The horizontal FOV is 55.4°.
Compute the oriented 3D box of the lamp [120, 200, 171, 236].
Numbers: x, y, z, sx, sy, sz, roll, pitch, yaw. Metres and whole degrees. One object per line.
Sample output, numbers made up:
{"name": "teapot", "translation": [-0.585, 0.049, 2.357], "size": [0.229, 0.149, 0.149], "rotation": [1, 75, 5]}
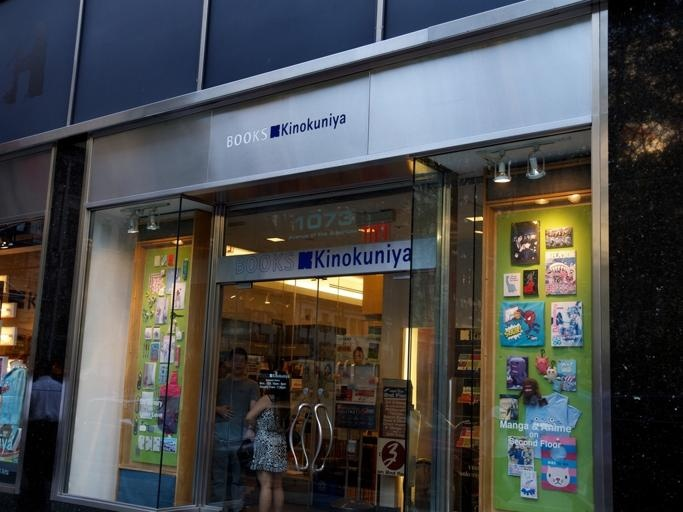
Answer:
{"name": "lamp", "translation": [-2.196, -0.405, 7.254], "size": [0.517, 0.295, 0.129], "rotation": [-7, -16, 10]}

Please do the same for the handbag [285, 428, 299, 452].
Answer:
{"name": "handbag", "translation": [-0.476, 1.779, 6.314], "size": [0.062, 0.194, 0.135], "rotation": [1, -19, 2]}

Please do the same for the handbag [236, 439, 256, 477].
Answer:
{"name": "handbag", "translation": [-0.977, 2.047, 6.667], "size": [0.190, 0.293, 0.183], "rotation": [8, -23, -38]}
